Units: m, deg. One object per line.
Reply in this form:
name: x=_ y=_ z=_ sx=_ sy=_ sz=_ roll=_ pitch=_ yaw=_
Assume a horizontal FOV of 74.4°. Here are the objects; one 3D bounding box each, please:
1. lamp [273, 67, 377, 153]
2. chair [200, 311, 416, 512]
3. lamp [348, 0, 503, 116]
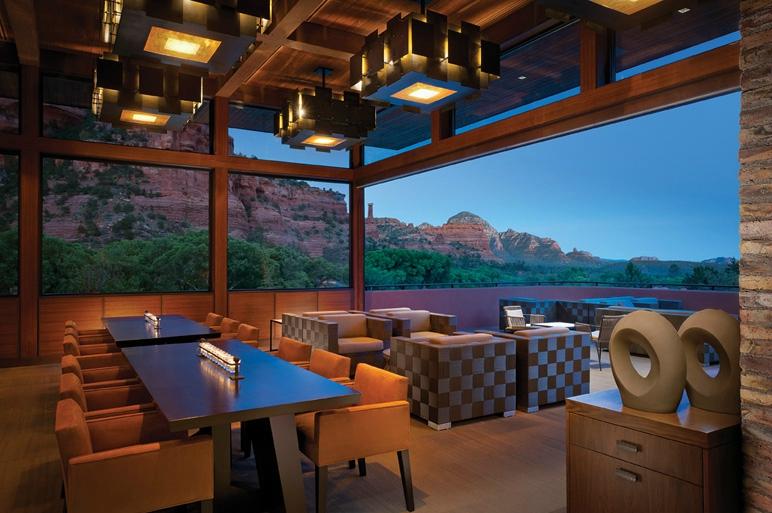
lamp: x=-0.869 y=-2.261 z=7.430 sx=1.344 sy=1.112 sz=1.346 roll=2 pitch=6 yaw=-2
chair: x=-0.592 y=1.113 z=4.366 sx=1.087 sy=1.290 sz=1.401 roll=3 pitch=-4 yaw=-26
lamp: x=0.420 y=-2.206 z=5.851 sx=1.456 sy=0.823 sz=0.931 roll=-4 pitch=9 yaw=-26
